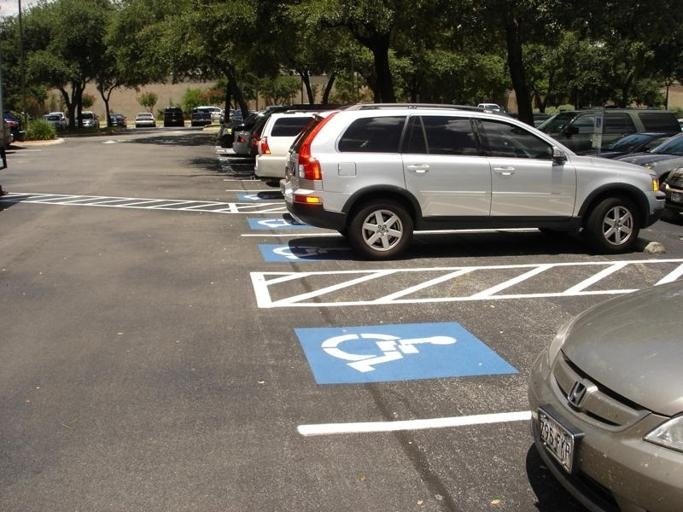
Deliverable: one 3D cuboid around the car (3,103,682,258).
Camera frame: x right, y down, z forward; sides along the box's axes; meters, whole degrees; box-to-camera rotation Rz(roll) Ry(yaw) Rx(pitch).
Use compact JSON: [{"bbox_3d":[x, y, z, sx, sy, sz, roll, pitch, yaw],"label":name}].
[{"bbox_3d":[2.272,-1.437,9.619,6.800,2.257,2.682,-3,9,-9],"label":"car"}]
